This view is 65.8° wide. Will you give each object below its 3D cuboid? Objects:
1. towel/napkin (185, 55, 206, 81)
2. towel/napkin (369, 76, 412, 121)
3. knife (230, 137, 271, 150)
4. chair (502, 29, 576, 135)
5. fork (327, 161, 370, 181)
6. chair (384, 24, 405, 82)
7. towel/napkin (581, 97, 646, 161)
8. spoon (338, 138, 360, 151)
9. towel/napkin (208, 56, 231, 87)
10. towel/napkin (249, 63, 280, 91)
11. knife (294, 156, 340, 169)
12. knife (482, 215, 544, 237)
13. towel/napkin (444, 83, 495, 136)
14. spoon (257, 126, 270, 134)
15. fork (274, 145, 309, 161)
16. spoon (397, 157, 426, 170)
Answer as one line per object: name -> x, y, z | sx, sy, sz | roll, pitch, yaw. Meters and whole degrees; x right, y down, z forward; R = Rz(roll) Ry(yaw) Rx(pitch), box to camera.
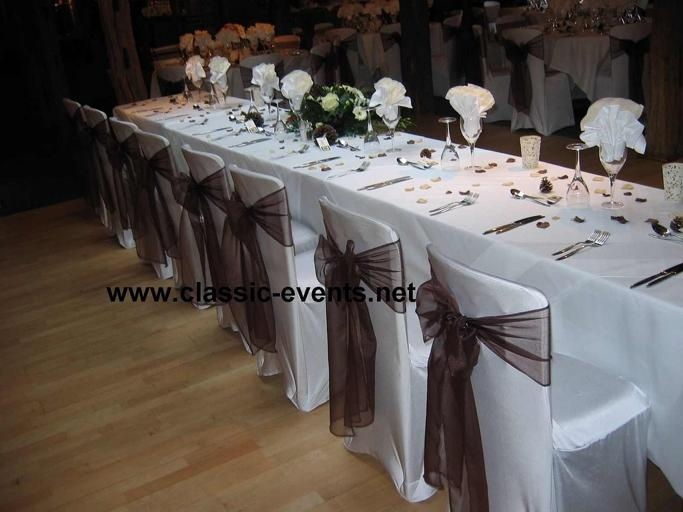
towel/napkin -> -1.356, -1.763, 4.966 | 0.156, 0.218, 0.324 | -10, 22, -12
towel/napkin -> 0.293, -0.934, 3.089 | 0.272, 0.130, 0.230 | 17, 9, 30
knife -> -0.628, -0.807, 3.753 | 0.335, 0.031, 0.094 | -17, 27, -24
chair -> 2.232, -1.980, 5.979 | 0.705, 1.321, 0.710 | -35, 40, -30
fork -> 0.044, -0.476, 2.990 | 0.273, 0.054, 0.057 | -21, 24, -25
chair -> 0.763, -3.097, 8.061 | 0.274, 0.790, 0.182 | -2, 20, 6
towel/napkin -> 1.066, -0.510, 2.095 | 0.242, 0.285, 0.110 | 6, 4, 31
spoon -> 0.056, -0.715, 3.412 | 0.090, 0.044, 0.130 | -23, 39, -37
towel/napkin -> -1.081, -1.646, 4.704 | 0.169, 0.231, 0.292 | -9, 22, -12
towel/napkin -> -0.569, -1.369, 4.043 | 0.200, 0.194, 0.246 | -4, 21, 2
knife -> -0.139, -0.565, 3.195 | 0.043, 0.019, 0.300 | 16, 25, 41
knife -> 0.717, -0.123, 2.210 | 0.219, 0.013, 0.041 | -18, 46, -18
towel/napkin -> 0.614, -0.728, 2.659 | 0.230, 0.229, 0.233 | 2, -4, -38
spoon -> -0.568, -0.947, 3.991 | 0.064, 0.037, 0.109 | -7, 22, -28
fork -> -0.316, -0.663, 3.414 | 0.230, 0.045, 0.048 | -29, 46, -6
spoon -> 0.383, -0.529, 3.008 | 0.058, 0.035, 0.219 | -27, 40, -31
